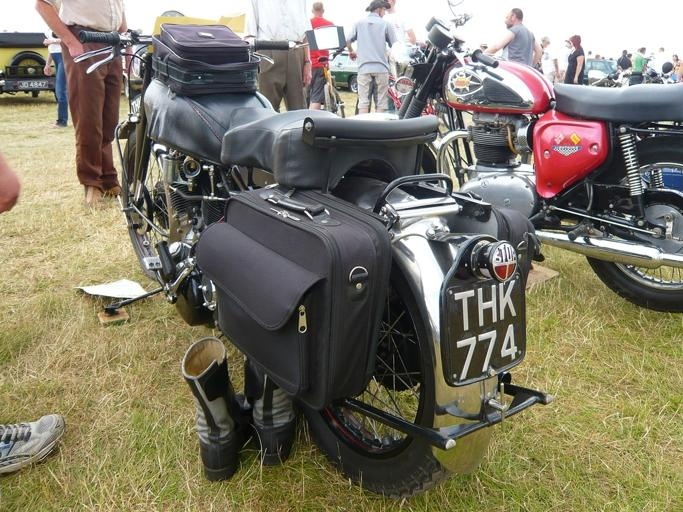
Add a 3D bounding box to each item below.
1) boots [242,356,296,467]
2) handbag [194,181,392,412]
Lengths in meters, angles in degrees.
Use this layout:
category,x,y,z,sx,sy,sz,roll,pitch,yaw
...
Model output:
category,x,y,z,sx,sy,sz,roll,pitch,yaw
boots,-0.348,0.621,2.290,0.152,0.346,0.472,-7,20,-10
handbag,-0.172,0.113,1.992,0.409,0.628,0.706,-18,27,-37
